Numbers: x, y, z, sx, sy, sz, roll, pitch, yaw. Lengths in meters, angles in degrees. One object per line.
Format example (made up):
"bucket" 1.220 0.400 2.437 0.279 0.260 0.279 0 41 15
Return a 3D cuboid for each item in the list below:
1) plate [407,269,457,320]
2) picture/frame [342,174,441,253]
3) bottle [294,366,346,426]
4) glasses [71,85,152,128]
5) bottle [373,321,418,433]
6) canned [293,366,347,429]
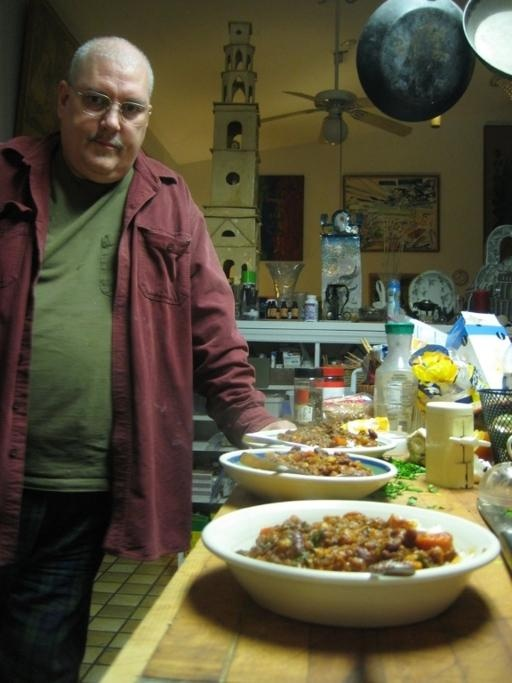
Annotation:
"plate" 1.663 -0.446 5.314 0.530 0.524 0.202 -3 -4 6
"picture/frame" 1.858 -1.736 7.865 1.247 1.119 0.323 -2 7 14
"bottle" 0.174 0.144 1.596 0.145 0.196 0.139 1 -7 0
"glasses" -0.289 -0.478 1.182 0.148 0.072 0.059 -5 7 -13
"bottle" 0.331 0.085 1.392 0.100 0.259 0.162 -3 7 11
"canned" 0.142 0.148 1.609 0.146 0.200 0.143 -3 -7 28
